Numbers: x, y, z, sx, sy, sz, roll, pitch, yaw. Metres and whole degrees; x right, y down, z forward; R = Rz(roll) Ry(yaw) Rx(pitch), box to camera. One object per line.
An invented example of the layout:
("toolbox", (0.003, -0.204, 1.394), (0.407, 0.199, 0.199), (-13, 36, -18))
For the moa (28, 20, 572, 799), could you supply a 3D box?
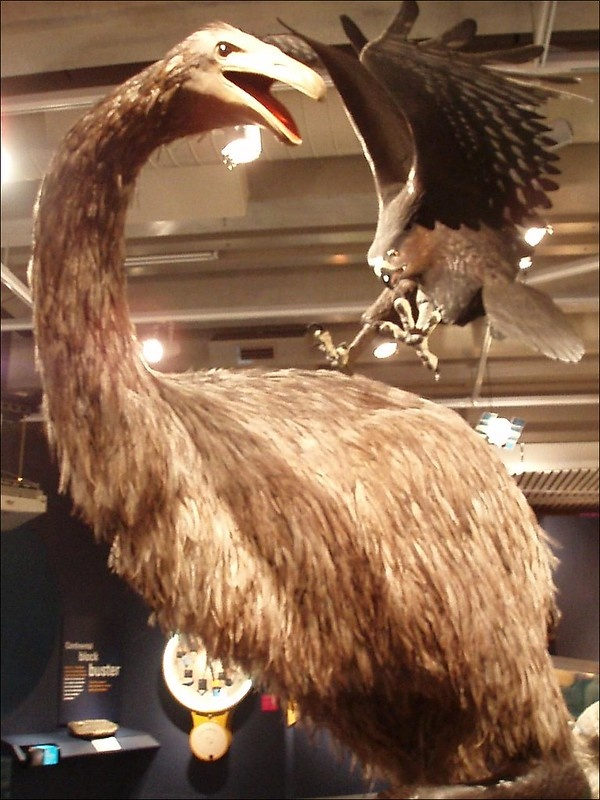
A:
("moa", (0.035, 0.023, 1.186), (0.756, 1.035, 0.399), (6, 12, 17))
